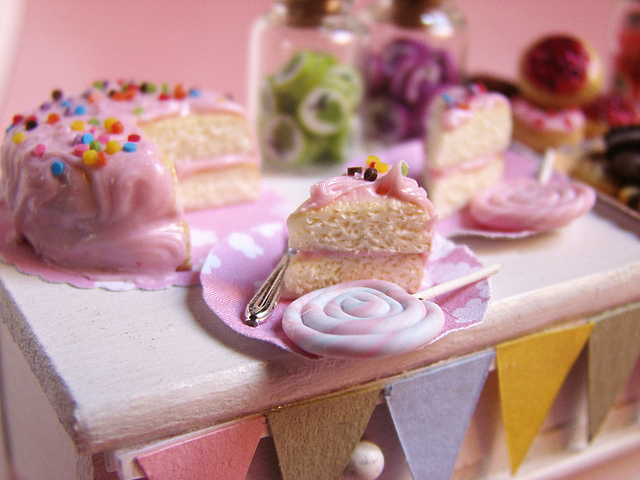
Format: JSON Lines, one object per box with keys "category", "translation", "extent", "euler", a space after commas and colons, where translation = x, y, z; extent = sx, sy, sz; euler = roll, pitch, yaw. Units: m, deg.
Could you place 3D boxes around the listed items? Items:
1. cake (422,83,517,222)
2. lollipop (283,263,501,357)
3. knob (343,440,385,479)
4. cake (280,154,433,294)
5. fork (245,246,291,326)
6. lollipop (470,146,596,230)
{"category": "cake", "translation": [0.306, -0.198, 1.410], "extent": [0.169, 0.236, 0.205], "euler": [-3, 35, -6]}
{"category": "lollipop", "translation": [0.066, 0.075, 1.009], "extent": [0.218, 0.105, 0.155], "euler": [-6, 20, -25]}
{"category": "knob", "translation": [0.077, 0.359, 1.120], "extent": [0.066, 0.074, 0.043], "euler": [-26, 43, -34]}
{"category": "cake", "translation": [0.047, -0.016, 1.103], "extent": [0.228, 0.194, 0.174], "euler": [-19, 40, -27]}
{"category": "fork", "translation": [-0.077, 0.071, 1.107], "extent": [0.027, 0.024, 0.168], "euler": [-6, 29, 19]}
{"category": "lollipop", "translation": [0.406, -0.098, 1.318], "extent": [0.215, 0.134, 0.162], "euler": [16, 37, 20]}
